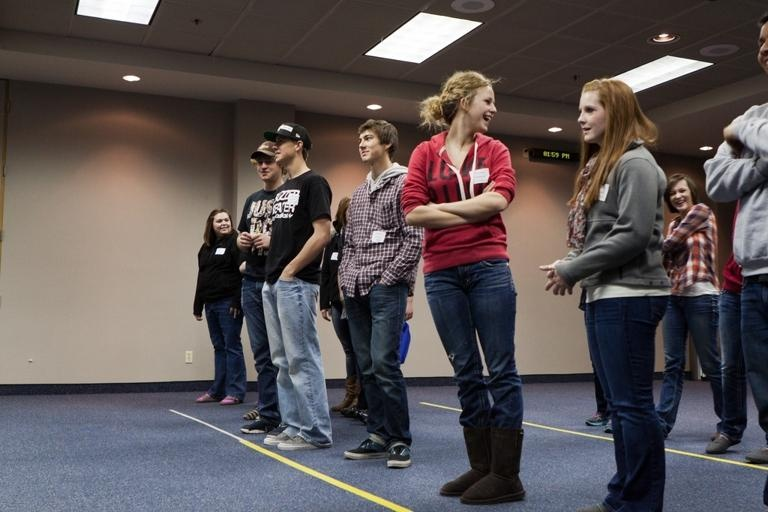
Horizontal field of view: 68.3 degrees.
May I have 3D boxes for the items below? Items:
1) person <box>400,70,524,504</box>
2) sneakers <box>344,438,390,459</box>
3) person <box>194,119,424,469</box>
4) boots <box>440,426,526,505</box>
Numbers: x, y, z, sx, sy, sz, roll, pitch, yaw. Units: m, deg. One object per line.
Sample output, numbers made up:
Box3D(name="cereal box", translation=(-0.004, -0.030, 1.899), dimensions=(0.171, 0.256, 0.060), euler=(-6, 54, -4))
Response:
Box3D(name="person", translation=(0.438, 0.129, 3.154), dimensions=(0.610, 2.430, 0.354), euler=(-2, -2, 13))
Box3D(name="sneakers", translation=(-0.110, 1.332, 3.922), dimensions=(0.320, 0.140, 0.120), euler=(4, -13, -13))
Box3D(name="person", translation=(-0.556, 0.201, 4.125), dimensions=(1.163, 2.418, 0.393), euler=(-3, -2, 33))
Box3D(name="boots", translation=(0.567, 1.113, 3.115), dimensions=(0.439, 0.420, 0.386), euler=(4, -10, -19))
